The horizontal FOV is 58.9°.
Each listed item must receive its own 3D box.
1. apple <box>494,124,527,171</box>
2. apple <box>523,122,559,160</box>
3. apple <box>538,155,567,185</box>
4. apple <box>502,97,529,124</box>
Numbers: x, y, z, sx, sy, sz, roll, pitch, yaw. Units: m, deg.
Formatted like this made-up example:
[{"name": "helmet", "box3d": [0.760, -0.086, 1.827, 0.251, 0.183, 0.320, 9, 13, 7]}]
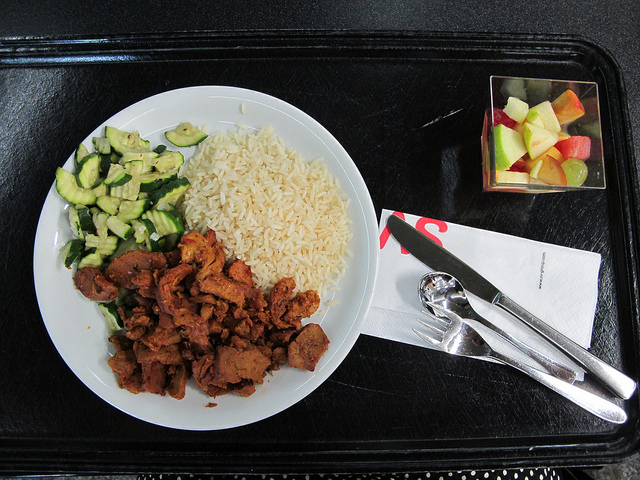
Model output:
[{"name": "apple", "box3d": [0.977, -0.486, 2.964, 0.183, 0.070, 0.257, 22, 75, -16]}, {"name": "apple", "box3d": [1.136, -0.502, 2.954, 0.193, 0.061, 0.163, 13, 84, -2]}, {"name": "apple", "box3d": [1.192, -0.350, 2.950, 0.105, 0.055, 0.174, -33, 87, -6]}, {"name": "apple", "box3d": [1.018, -0.690, 3.035, 0.117, 0.094, 0.127, 30, 28, -20]}]
